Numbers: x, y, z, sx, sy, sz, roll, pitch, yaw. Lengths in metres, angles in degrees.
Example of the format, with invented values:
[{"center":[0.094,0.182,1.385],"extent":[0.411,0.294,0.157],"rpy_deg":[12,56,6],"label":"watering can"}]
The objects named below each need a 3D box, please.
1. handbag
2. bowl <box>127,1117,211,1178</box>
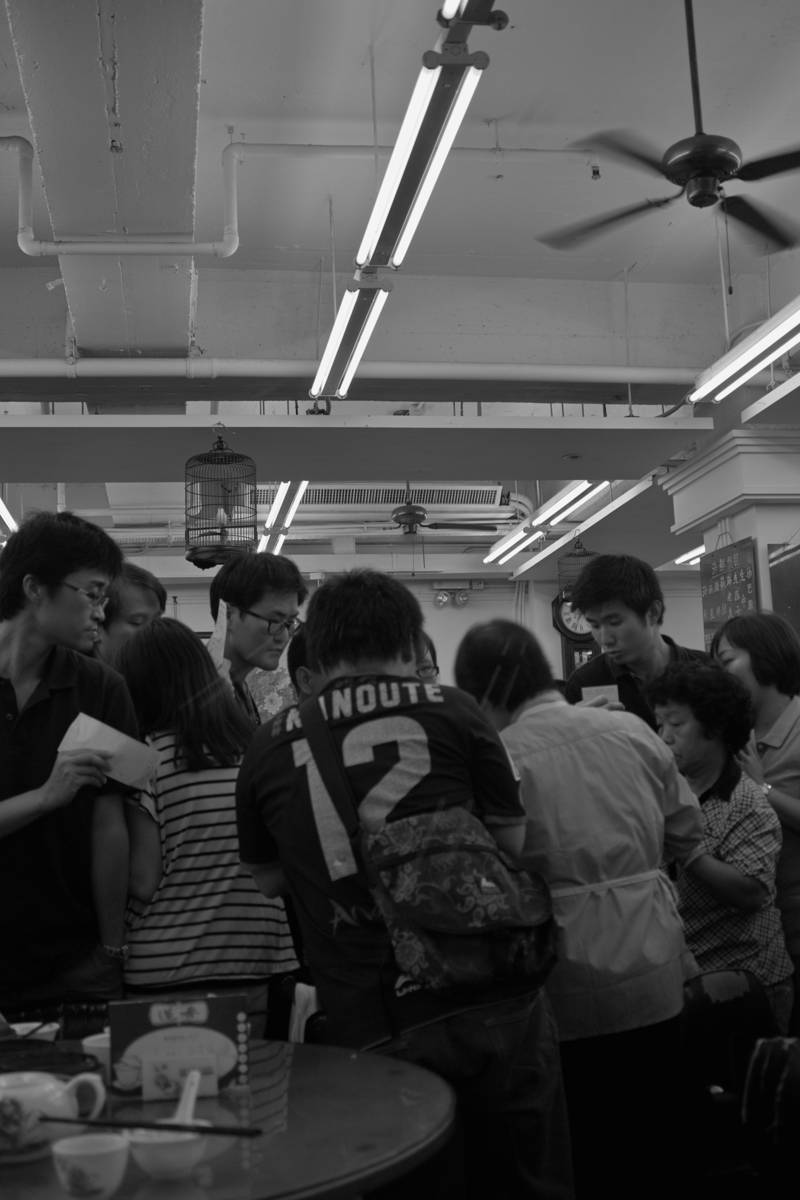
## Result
[{"center":[0.101,0.460,1.722],"extent":[0.304,0.282,0.106],"rpy_deg":[-2,-5,-23],"label":"handbag"},{"center":[-0.240,0.582,1.201],"extent":[0.086,0.051,0.070],"rpy_deg":[-2,-4,-18],"label":"bowl"}]
